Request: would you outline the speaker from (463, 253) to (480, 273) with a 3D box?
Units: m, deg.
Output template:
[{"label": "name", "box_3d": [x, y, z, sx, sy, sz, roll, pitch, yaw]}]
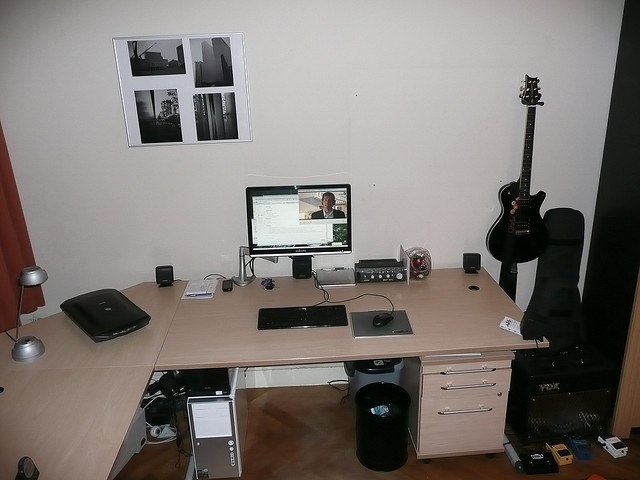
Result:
[{"label": "speaker", "box_3d": [1.058, 0.161, 3.478, 0.117, 0.134, 0.070, 0, 6, 5]}]

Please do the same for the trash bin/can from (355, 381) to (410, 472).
[{"label": "trash bin/can", "box_3d": [0.354, 1.160, 3.259, 0.418, 0.484, 0.439, 1, 16, 6]}]

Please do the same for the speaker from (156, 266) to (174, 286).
[{"label": "speaker", "box_3d": [-1.055, 0.245, 3.396, 0.103, 0.151, 0.079, -1, 20, -13]}]

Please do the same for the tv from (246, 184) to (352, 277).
[{"label": "tv", "box_3d": [-0.135, -0.088, 3.319, 0.582, 0.531, 0.116, -1, 10, -3]}]

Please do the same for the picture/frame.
[{"label": "picture/frame", "box_3d": [-0.898, -0.998, 3.208, 0.688, 0.608, 0.032, -1, 22, -2]}]

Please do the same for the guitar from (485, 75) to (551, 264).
[{"label": "guitar", "box_3d": [1.338, -0.449, 3.330, 0.396, 1.218, 0.234, 1, 18, 8]}]
